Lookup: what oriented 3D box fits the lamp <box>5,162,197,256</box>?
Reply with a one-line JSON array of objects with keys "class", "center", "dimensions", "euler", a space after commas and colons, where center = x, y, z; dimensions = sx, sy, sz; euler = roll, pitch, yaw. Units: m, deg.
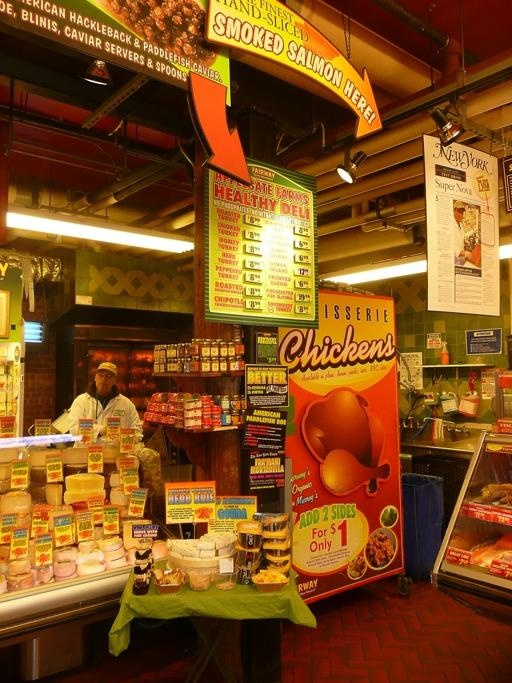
[{"class": "lamp", "center": [-1.030, -0.716, 3.715], "dimensions": [1.328, 0.155, 0.271], "euler": [4, -6, -43]}]

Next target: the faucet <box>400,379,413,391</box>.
[{"class": "faucet", "center": [2.245, 0.658, 8.232], "dimensions": [0.043, 0.122, 0.184], "euler": [-8, 9, -28]}]

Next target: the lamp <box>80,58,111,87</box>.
[{"class": "lamp", "center": [-0.775, -1.302, 2.705], "dimensions": [0.126, 0.106, 0.227], "euler": [2, -4, -19]}]

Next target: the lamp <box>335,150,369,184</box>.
[{"class": "lamp", "center": [0.635, -1.165, 3.650], "dimensions": [0.167, 0.266, 0.287], "euler": [0, -5, 11]}]

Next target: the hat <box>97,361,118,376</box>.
[{"class": "hat", "center": [-1.613, 0.292, 5.957], "dimensions": [0.227, 0.159, 0.362], "euler": [7, -8, -6]}]

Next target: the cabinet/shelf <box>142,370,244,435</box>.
[{"class": "cabinet/shelf", "center": [-0.270, 0.346, 3.083], "dimensions": [0.335, 0.263, 0.635], "euler": [4, -7, -32]}]

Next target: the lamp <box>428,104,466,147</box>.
[{"class": "lamp", "center": [1.178, -1.304, 3.369], "dimensions": [0.172, 0.322, 0.335], "euler": [-1, -5, 23]}]

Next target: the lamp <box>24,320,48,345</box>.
[{"class": "lamp", "center": [-2.879, -0.109, 7.211], "dimensions": [0.258, 0.311, 0.115], "euler": [4, -6, -36]}]

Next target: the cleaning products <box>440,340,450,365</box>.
[{"class": "cleaning products", "center": [2.611, 0.158, 7.614], "dimensions": [0.100, 0.336, 0.290], "euler": [-1, -5, 18]}]

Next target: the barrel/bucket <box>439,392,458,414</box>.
[{"class": "barrel/bucket", "center": [2.607, 0.832, 7.436], "dimensions": [0.231, 0.275, 0.234], "euler": [1, -5, 0]}]

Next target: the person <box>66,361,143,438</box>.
[{"class": "person", "center": [-1.584, 0.798, 5.802], "dimensions": [0.798, 1.098, 0.587], "euler": [5, -10, -26]}]
